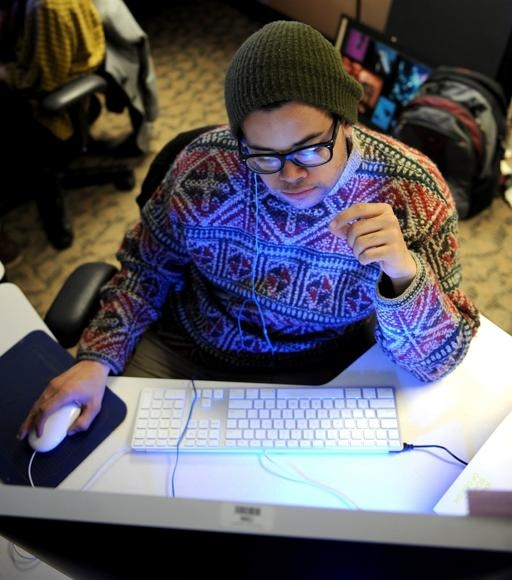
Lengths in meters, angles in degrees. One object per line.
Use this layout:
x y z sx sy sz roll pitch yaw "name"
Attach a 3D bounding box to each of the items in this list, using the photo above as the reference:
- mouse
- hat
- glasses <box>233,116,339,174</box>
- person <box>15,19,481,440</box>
-0.387 0.265 0.911 0.060 0.100 0.025 17 91 -3 "mouse"
0.062 -0.328 0.782 0.196 0.199 0.147 3 85 -9 "hat"
0.073 -0.244 0.802 0.158 0.044 0.158 5 43 31 "glasses"
0.023 -0.021 1.048 0.830 0.925 0.489 15 39 11 "person"
